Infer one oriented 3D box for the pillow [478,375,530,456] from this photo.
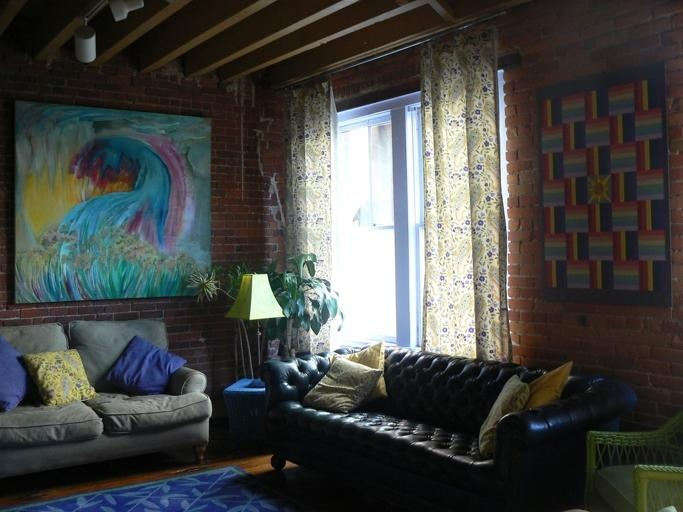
[{"bbox_3d":[0.999,1.008,3.411,0.250,0.422,0.553,1,2,36],"label":"pillow"}]
